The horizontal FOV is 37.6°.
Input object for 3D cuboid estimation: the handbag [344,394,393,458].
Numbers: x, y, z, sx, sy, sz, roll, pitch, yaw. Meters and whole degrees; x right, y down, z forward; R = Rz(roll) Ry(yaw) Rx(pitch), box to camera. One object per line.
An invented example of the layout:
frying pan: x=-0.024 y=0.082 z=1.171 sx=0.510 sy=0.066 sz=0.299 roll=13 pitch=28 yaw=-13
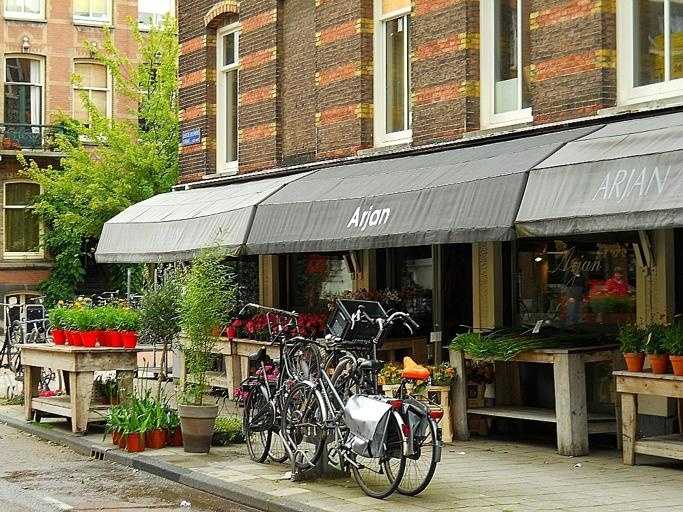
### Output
handbag: x=0.271 y=1.801 z=10.653 sx=0.295 sy=0.593 sz=0.562 roll=-5 pitch=8 yaw=-30
